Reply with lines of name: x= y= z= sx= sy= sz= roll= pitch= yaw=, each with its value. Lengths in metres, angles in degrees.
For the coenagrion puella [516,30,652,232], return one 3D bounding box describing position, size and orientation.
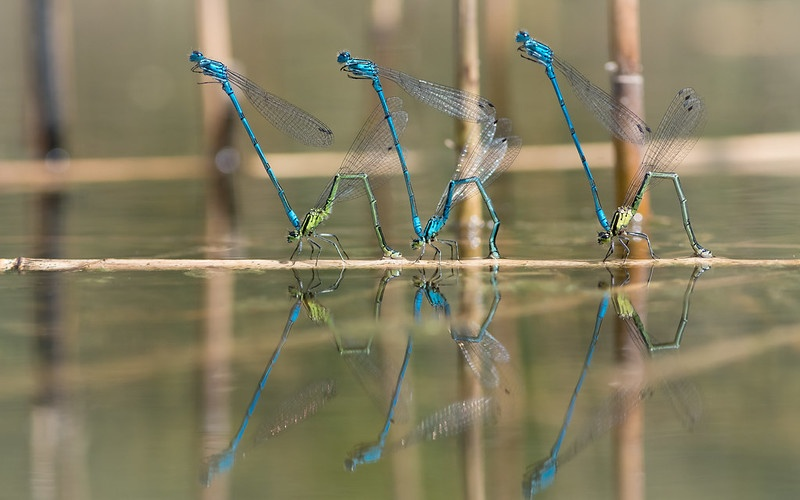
coenagrion puella: x=0.907 y=-0.594 z=4.898 sx=0.179 sy=1.066 sz=0.190 roll=-19 pitch=19 yaw=19
